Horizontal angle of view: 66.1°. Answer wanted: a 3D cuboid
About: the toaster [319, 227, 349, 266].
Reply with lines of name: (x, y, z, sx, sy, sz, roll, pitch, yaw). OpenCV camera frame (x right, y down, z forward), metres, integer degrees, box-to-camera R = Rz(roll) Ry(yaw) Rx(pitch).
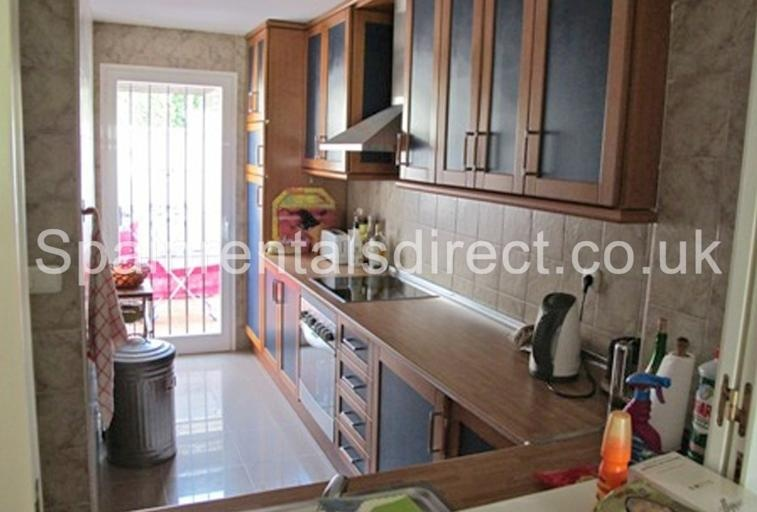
toaster: (-0.339, -0.064, 4.395, 0.089, 0.167, 0.273, -6, 14, -20)

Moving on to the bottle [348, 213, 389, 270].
bottle: (-0.071, -0.090, 4.170, 0.196, 0.409, 0.247, -5, 14, -28)

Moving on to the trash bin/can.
trash bin/can: (-1.405, 0.864, 3.699, 0.428, 0.723, 0.523, -2, 13, -17)

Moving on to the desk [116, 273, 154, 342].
desk: (-1.722, 0.425, 4.228, 0.297, 0.536, 0.378, -1, 13, -15)

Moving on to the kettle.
kettle: (0.723, 0.327, 2.364, 0.217, 0.327, 0.160, -16, 19, -42)

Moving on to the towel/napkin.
towel/napkin: (-1.483, 0.346, 3.135, 0.147, 1.210, 0.297, -1, 12, -18)

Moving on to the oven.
oven: (-0.366, 0.653, 3.537, 0.214, 0.674, 0.585, -2, 10, -13)

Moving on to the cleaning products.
cleaning products: (1.009, 0.467, 1.763, 0.096, 0.315, 0.094, 2, 7, -2)

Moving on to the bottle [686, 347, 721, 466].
bottle: (1.008, 0.462, 1.766, 0.082, 0.330, 0.098, 4, 6, -7)

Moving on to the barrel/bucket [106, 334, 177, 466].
barrel/bucket: (-1.394, 0.862, 3.698, 0.419, 0.722, 0.518, -2, 13, -17)
